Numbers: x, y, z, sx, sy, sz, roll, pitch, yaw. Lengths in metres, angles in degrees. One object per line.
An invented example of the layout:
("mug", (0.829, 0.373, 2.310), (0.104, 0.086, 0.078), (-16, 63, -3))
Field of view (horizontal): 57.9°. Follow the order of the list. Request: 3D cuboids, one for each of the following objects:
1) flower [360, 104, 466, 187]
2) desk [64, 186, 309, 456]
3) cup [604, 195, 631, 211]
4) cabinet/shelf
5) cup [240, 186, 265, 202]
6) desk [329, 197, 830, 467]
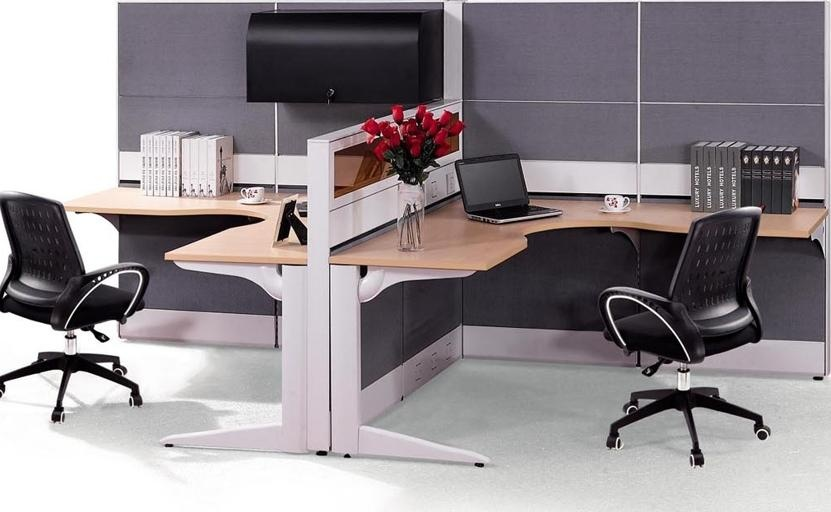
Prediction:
("flower", (0.013, -0.763, 4.758), (0.663, 0.495, 0.589), (-8, 20, -22))
("desk", (-1.332, 0.400, 5.460), (2.024, 1.034, 1.954), (2, 16, 3))
("cup", (1.510, -0.391, 5.643), (0.141, 0.109, 0.189), (-1, -3, 29))
("cabinet/shelf", (-0.619, -1.505, 5.680), (1.375, 0.651, 0.270), (4, 17, 14))
("cup", (-1.314, -0.496, 6.043), (0.194, 0.107, 0.123), (2, 8, 11))
("desk", (0.749, 0.290, 4.823), (2.378, 0.832, 2.083), (0, 7, 5))
